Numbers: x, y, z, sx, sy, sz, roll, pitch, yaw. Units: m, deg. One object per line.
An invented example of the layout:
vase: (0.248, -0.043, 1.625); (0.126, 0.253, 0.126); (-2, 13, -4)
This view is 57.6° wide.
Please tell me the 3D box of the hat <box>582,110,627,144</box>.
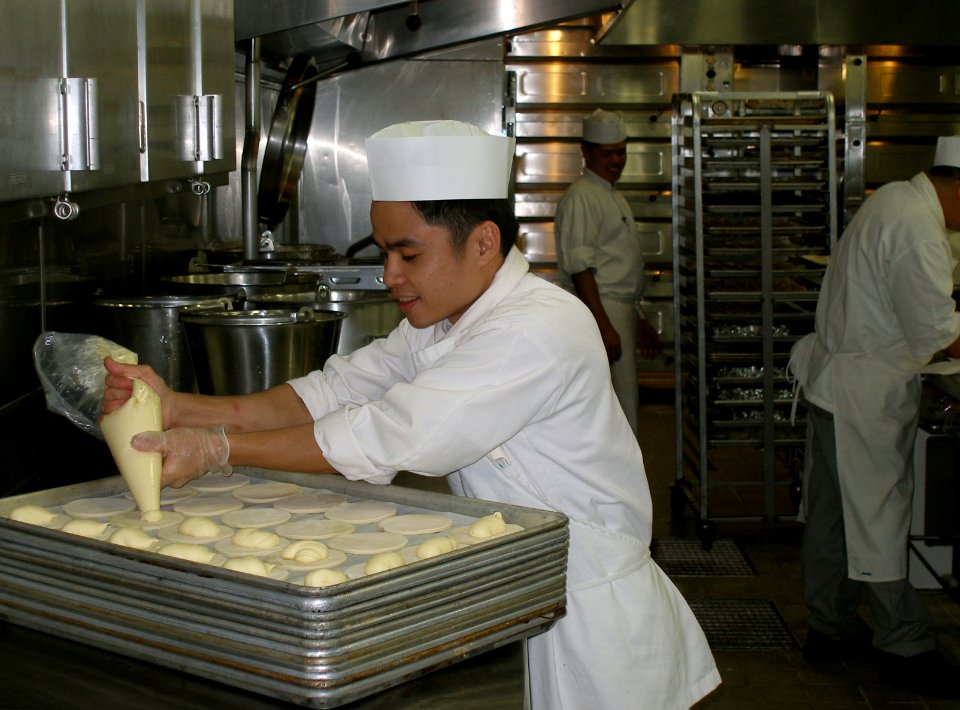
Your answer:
hat: (0.692, -1.268, 4.884); (0.220, 0.148, 0.218); (-13, 20, -27)

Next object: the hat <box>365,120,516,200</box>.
hat: (-0.088, -0.384, 1.603); (0.290, 0.133, 0.272); (2, 9, -19)

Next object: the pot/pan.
pot/pan: (-0.560, -0.087, 2.592); (0.516, 0.279, 0.583); (-8, 1, 27)

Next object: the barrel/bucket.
barrel/bucket: (-0.585, -0.017, 2.410); (0.311, 0.201, 0.295); (-1, -1, 0)
